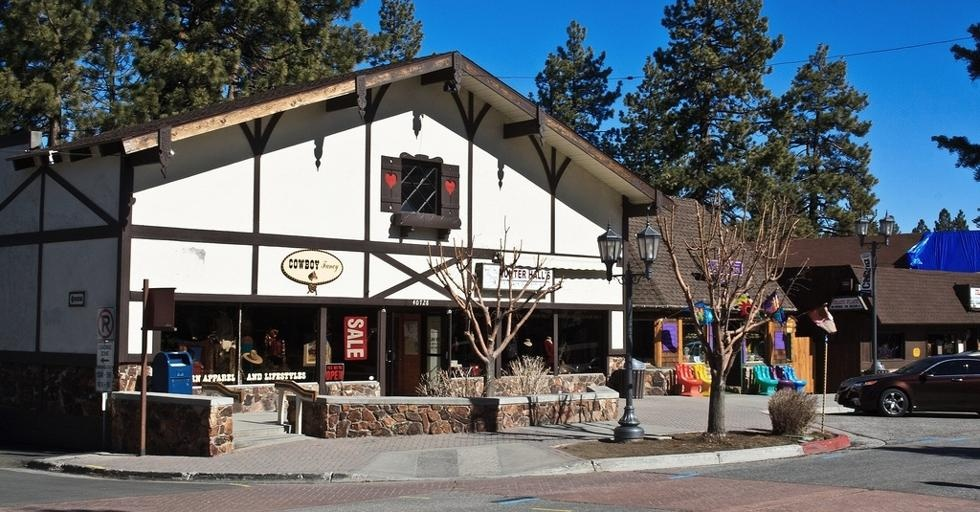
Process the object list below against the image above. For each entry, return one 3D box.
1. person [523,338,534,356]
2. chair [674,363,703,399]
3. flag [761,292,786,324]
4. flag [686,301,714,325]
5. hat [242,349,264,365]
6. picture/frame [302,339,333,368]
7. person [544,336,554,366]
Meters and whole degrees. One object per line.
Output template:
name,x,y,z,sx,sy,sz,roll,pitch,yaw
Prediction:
person,1.701,4.047,40.252,0.479,0.767,0.274,-2,12,-8
chair,9.360,5.887,42.848,1.174,1.305,0.821,2,12,10
flag,13.375,2.458,42.572,0.939,0.902,1.733,-1,29,14
flag,8.985,2.377,38.457,0.908,0.930,1.181,-28,-27,7
hat,-9.263,3.965,35.228,0.615,0.223,0.535,39,25,33
picture/frame,-6.954,3.885,36.113,1.171,1.193,0.122,2,3,-8
person,2.652,4.245,40.137,0.331,1.322,0.488,-4,12,-17
